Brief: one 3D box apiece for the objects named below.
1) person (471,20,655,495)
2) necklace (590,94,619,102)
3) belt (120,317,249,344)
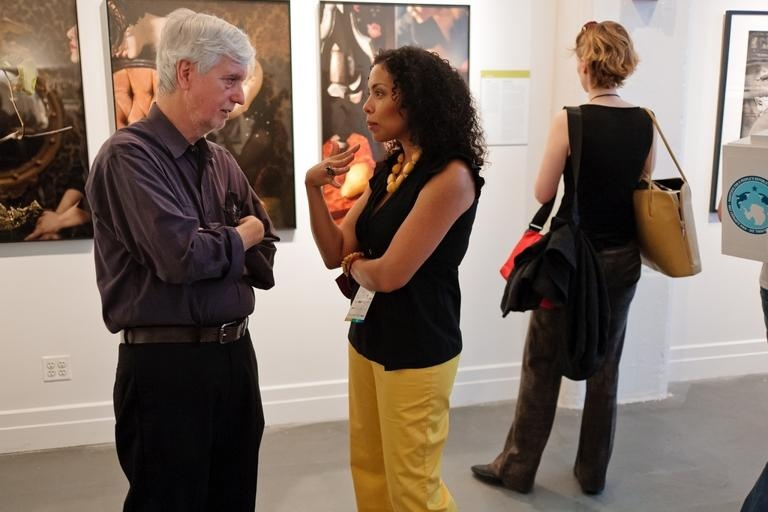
[{"bbox_3d":[1.193,0.066,3.863,0.963,2.917,0.578,-10,16,-30],"label":"person"},{"bbox_3d":[1.320,-0.962,3.747,0.157,0.045,0.056,2,15,16],"label":"necklace"},{"bbox_3d":[-0.967,0.382,3.053,0.586,0.130,0.130,-7,15,-16],"label":"belt"}]
